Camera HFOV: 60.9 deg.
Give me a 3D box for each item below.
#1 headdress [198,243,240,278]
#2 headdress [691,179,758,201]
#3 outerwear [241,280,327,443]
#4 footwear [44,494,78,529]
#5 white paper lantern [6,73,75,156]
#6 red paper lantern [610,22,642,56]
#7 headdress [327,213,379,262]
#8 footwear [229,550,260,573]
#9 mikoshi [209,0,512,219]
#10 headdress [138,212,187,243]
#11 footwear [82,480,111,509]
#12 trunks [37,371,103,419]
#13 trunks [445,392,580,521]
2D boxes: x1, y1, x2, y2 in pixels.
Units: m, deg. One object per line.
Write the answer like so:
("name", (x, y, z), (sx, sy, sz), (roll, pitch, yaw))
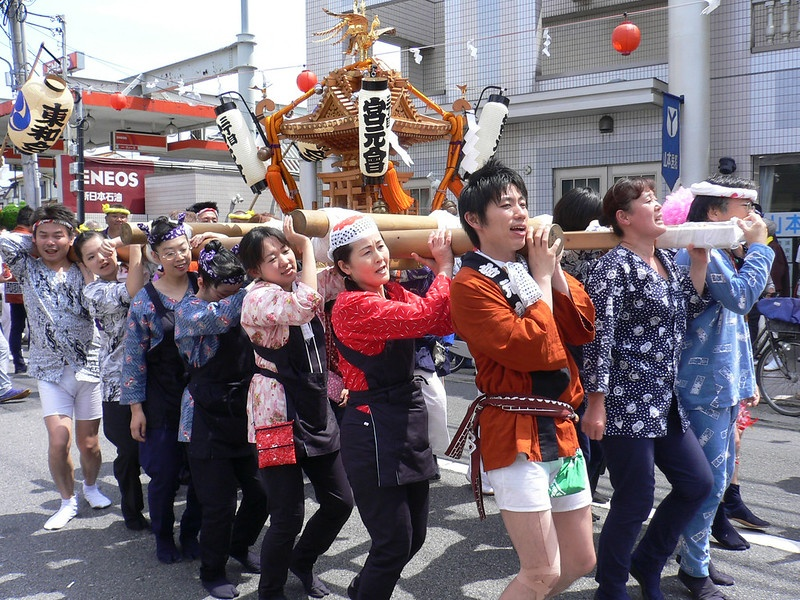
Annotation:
("headdress", (-1.177, -0.236, 4.534), (0.271, 0.209, 0.142), (35, 7, 19))
("headdress", (2.015, -0.660, 4.191), (0.224, 0.069, 0.189), (2, 4, -23))
("outerwear", (-0.680, 0.375, 3.949), (0.604, 0.963, 0.252), (3, 8, 37))
("footwear", (-2.637, 1.647, 5.267), (0.194, 0.154, 0.318), (-3, 6, -10))
("white paper lantern", (-4.432, -2.295, 8.338), (0.757, 0.916, 0.413), (1, 7, 19))
("red paper lantern", (3.027, -3.520, 9.071), (0.309, 0.433, 0.403), (1, 7, 24))
("headdress", (-0.244, -0.316, 3.608), (0.217, 0.061, 0.211), (-19, 13, 17))
("footwear", (-1.035, 1.761, 4.636), (0.275, 0.112, 0.103), (6, 2, 19))
("mikoshi", (-0.409, -2.283, 7.769), (2.565, 2.617, 1.962), (3, 8, 37))
("headdress", (-1.671, -0.467, 4.757), (0.245, 0.146, 0.250), (-7, 22, 48))
("footwear", (-2.503, 1.617, 5.585), (0.123, 0.147, 0.331), (4, -6, -42))
("trunks", (-2.664, 0.762, 5.476), (0.327, 0.308, 0.198), (14, -48, -38))
("trunks", (0.645, 0.746, 3.559), (0.745, 0.754, 0.485), (5, 0, 18))
